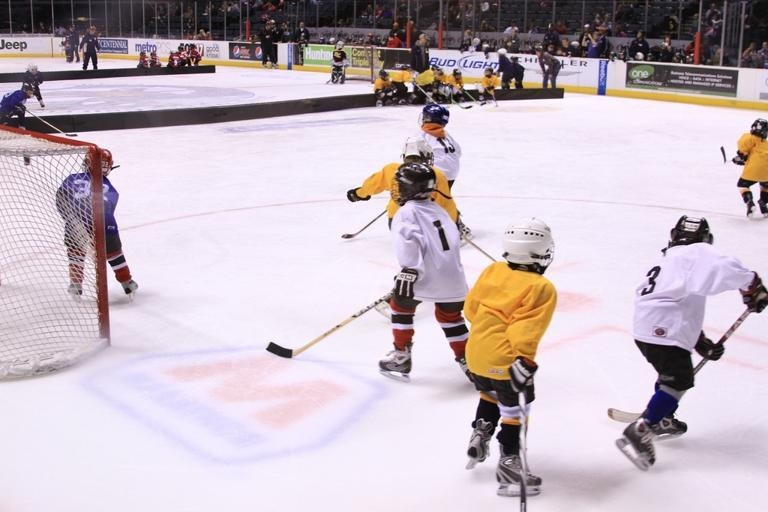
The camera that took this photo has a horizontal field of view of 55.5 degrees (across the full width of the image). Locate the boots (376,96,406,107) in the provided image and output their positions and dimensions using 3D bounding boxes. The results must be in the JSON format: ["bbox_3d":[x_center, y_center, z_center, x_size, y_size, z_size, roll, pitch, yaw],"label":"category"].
[{"bbox_3d":[0.215,-3.550,16.672,0.867,0.218,0.216,-11,19,-42],"label":"boots"}]

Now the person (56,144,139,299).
[{"bbox_3d":[-2.056,-0.218,5.210,0.502,1.114,0.765,-6,17,-23],"label":"person"}]

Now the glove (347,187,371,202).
[{"bbox_3d":[-0.180,-0.456,5.498,0.196,0.058,0.144,-9,11,-29],"label":"glove"}]

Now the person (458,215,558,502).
[{"bbox_3d":[0.599,0.497,3.555,0.433,1.307,0.571,2,16,6],"label":"person"}]

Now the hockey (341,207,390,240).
[{"bbox_3d":[-0.190,-0.312,7.243,0.084,0.676,0.098,29,56,-9],"label":"hockey"}]

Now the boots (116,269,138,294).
[{"bbox_3d":[-1.912,0.191,5.462,0.138,0.193,0.084,-16,13,19],"label":"boots"}]

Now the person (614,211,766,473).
[{"bbox_3d":[1.505,0.432,3.827,0.793,1.247,0.430,-6,18,-23],"label":"person"}]

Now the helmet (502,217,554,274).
[{"bbox_3d":[0.727,-0.046,3.685,0.245,0.250,0.297,4,6,34],"label":"helmet"}]

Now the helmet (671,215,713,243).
[{"bbox_3d":[1.627,-0.143,3.889,0.168,0.163,0.184,-3,-1,-2],"label":"helmet"}]

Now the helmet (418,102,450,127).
[{"bbox_3d":[0.464,-1.235,6.364,0.259,0.174,0.175,19,24,-12],"label":"helmet"}]

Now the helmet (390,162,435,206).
[{"bbox_3d":[0.189,-0.438,4.360,0.330,0.234,0.218,-3,24,10],"label":"helmet"}]

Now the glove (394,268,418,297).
[{"bbox_3d":[0.131,0.142,4.068,0.066,0.139,0.167,20,12,41],"label":"glove"}]

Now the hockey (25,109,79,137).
[{"bbox_3d":[-5.631,-2.230,12.249,0.597,0.365,2.119,-9,16,-34],"label":"hockey"}]

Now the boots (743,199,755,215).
[{"bbox_3d":[3.771,-0.509,7.537,0.105,0.155,0.121,0,-4,5],"label":"boots"}]

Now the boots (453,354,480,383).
[{"bbox_3d":[0.481,0.668,4.368,0.177,0.069,0.171,40,4,-17],"label":"boots"}]

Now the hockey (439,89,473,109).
[{"bbox_3d":[1.590,-3.591,16.472,0.655,0.230,0.706,0,15,-26],"label":"hockey"}]
